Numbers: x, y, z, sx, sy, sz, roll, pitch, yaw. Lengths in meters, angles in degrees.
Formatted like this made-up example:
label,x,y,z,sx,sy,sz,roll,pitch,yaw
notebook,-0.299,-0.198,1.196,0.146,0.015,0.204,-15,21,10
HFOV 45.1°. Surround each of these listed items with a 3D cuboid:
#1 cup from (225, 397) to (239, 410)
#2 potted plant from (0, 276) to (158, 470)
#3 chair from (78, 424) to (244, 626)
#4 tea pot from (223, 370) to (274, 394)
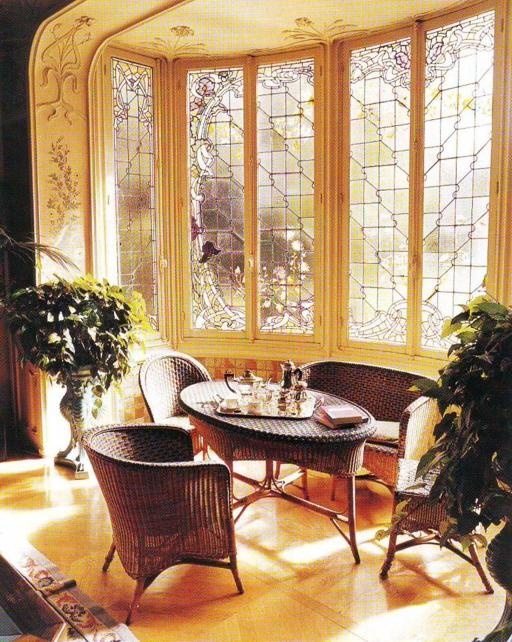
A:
label,x,y,z,sx,sy,sz,roll,pitch,yaw
cup,-0.120,0.399,2.957,0.053,0.038,0.060,-2,-17,4
potted plant,-1.074,0.351,3.791,0.772,1.232,0.492,-4,9,-31
chair,-0.401,0.797,2.552,0.555,0.669,0.546,-5,9,-35
tea pot,-0.041,0.318,3.120,0.248,0.128,0.141,0,1,-2
